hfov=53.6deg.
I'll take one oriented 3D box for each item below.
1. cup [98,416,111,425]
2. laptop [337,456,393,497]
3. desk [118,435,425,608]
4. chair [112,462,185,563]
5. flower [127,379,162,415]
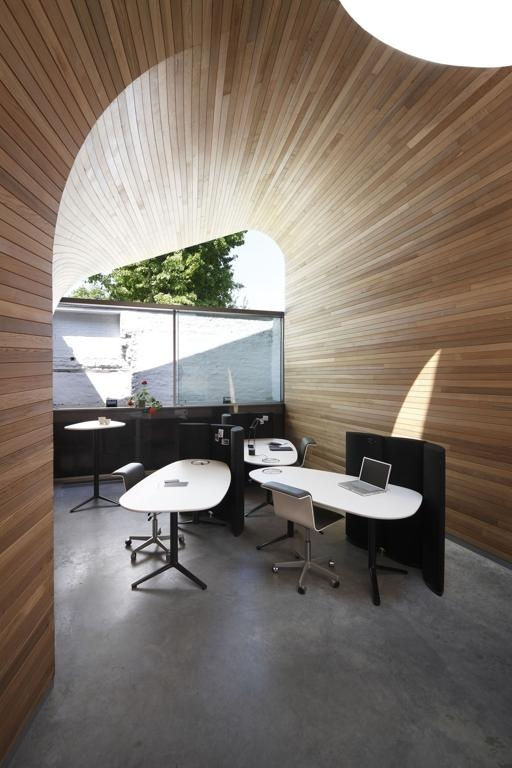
[{"bbox_3d":[-1.748,0.428,5.851,0.089,0.058,0.132,-1,-7,-1],"label":"cup"},{"bbox_3d":[0.801,0.697,3.712,0.227,0.182,0.293,-1,3,-22],"label":"laptop"},{"bbox_3d":[0.108,0.994,3.850,2.037,0.832,1.589,0,3,3],"label":"desk"},{"bbox_3d":[-0.944,1.036,4.416,0.642,0.921,0.703,0,3,12],"label":"chair"},{"bbox_3d":[-1.627,0.197,7.187,0.507,0.460,0.397,-4,2,-25],"label":"flower"}]
